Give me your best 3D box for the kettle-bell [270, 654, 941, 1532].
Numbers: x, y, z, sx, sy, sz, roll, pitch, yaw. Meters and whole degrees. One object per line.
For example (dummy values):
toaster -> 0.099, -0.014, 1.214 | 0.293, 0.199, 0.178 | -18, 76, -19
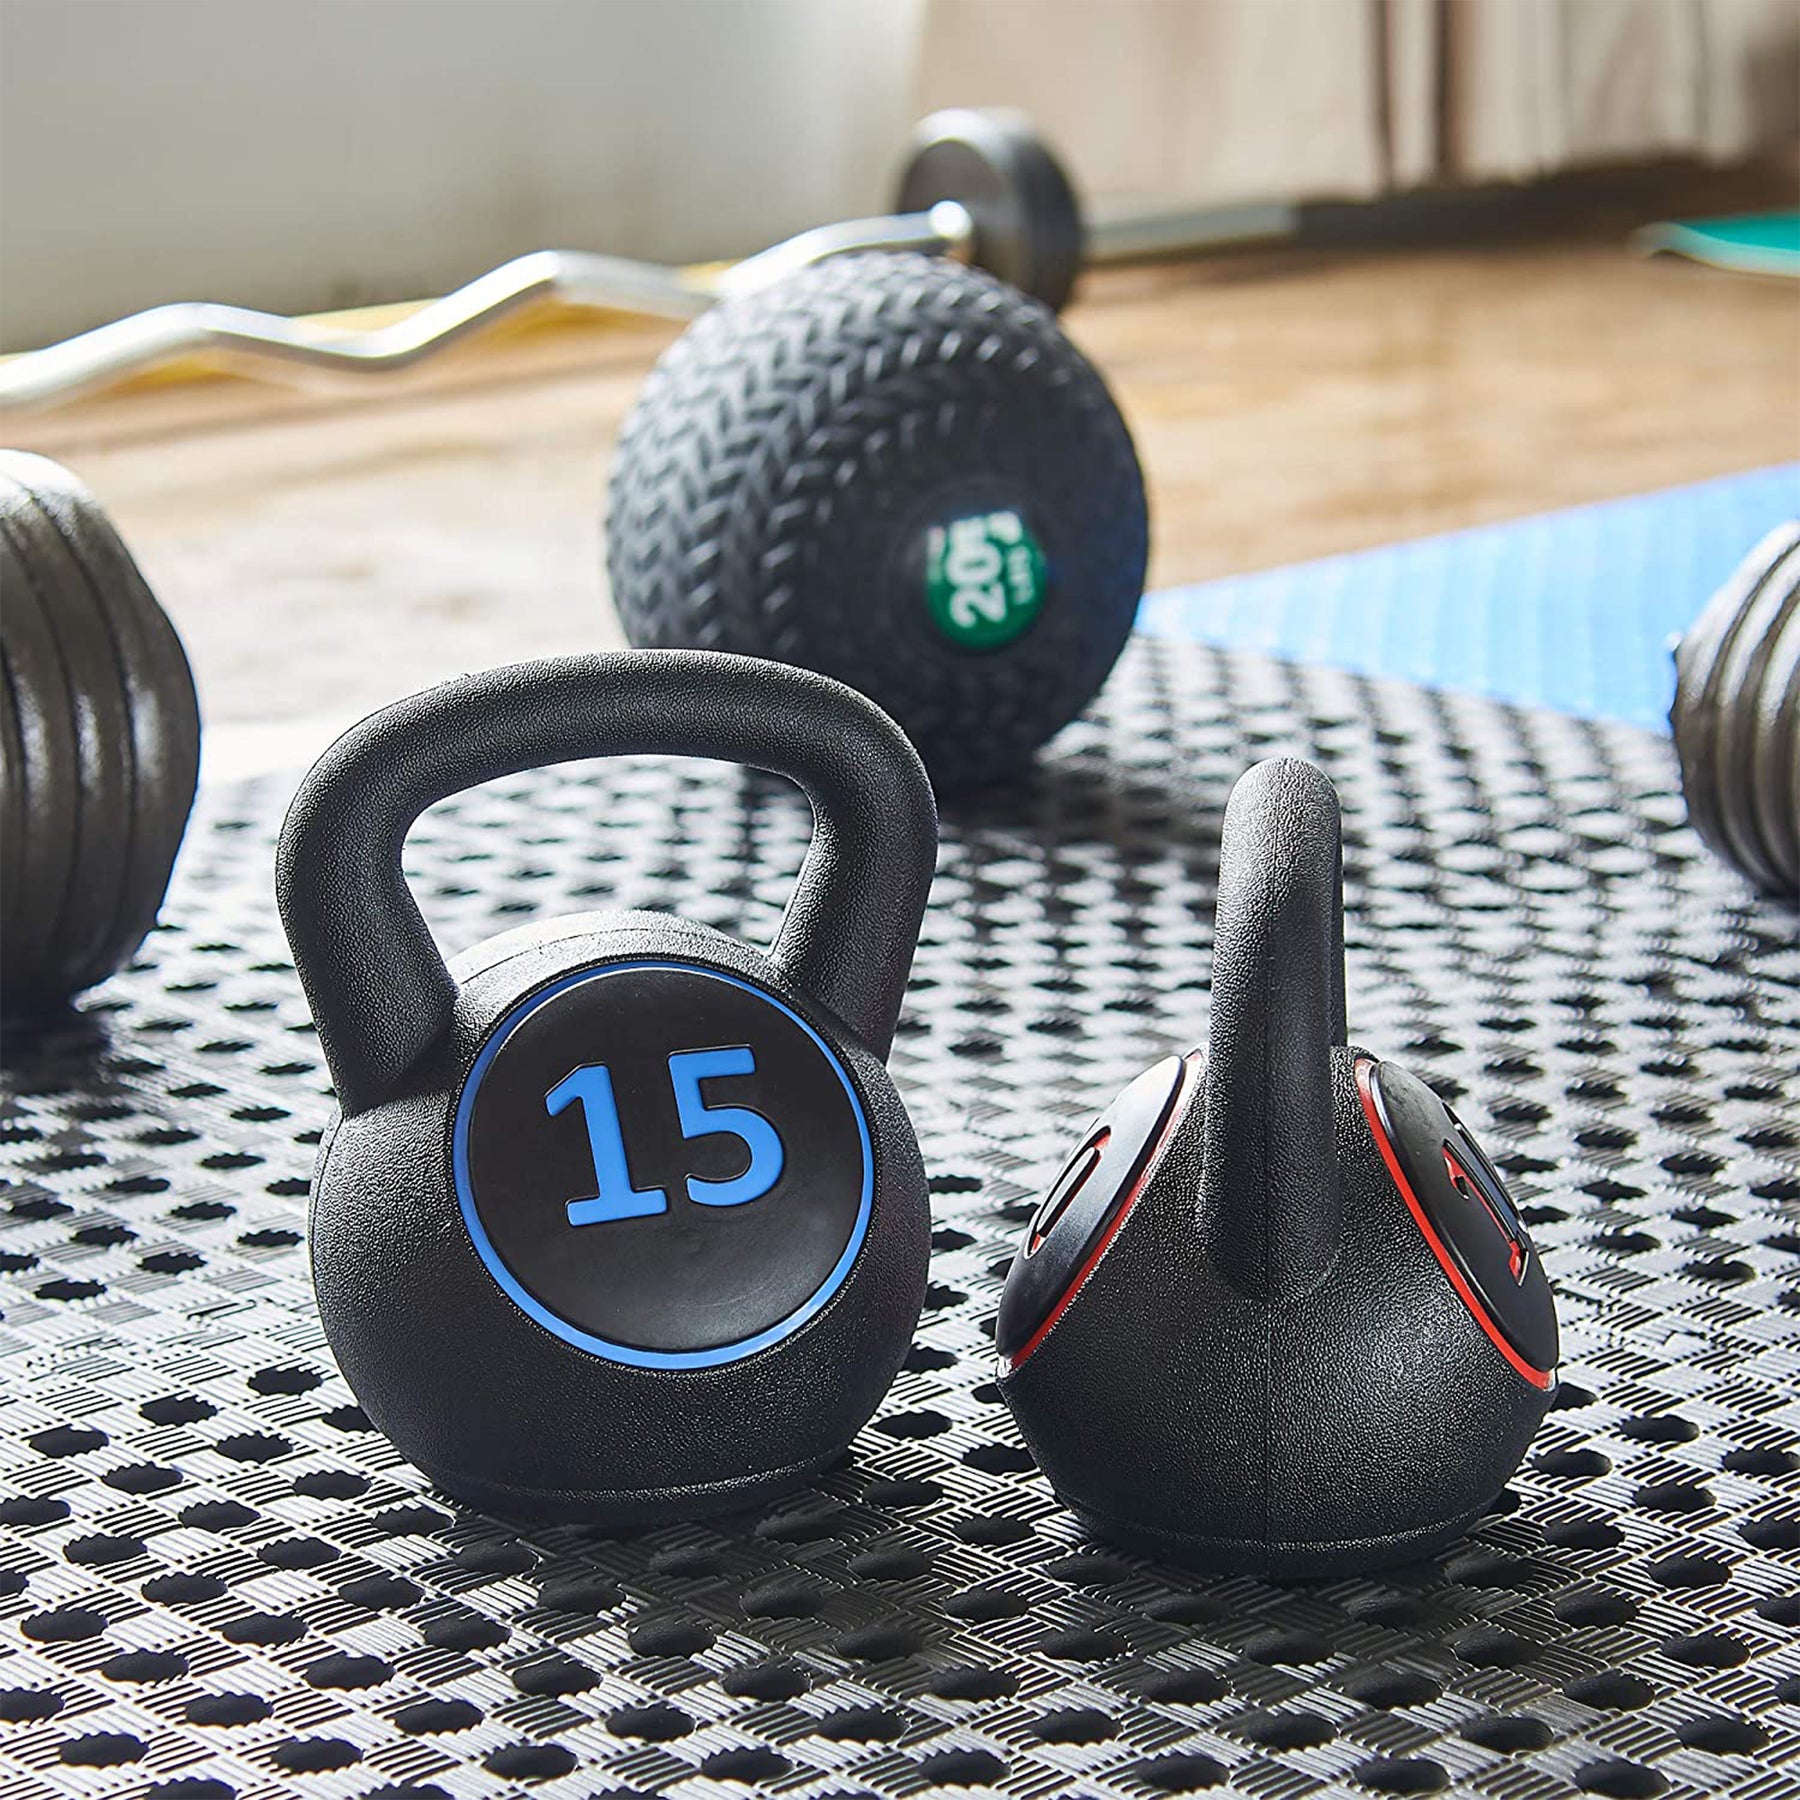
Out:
kettle-bell -> -0.093, 0.069, 0.732 | 0.215, 0.296, 0.164 | -2, 36, 1
